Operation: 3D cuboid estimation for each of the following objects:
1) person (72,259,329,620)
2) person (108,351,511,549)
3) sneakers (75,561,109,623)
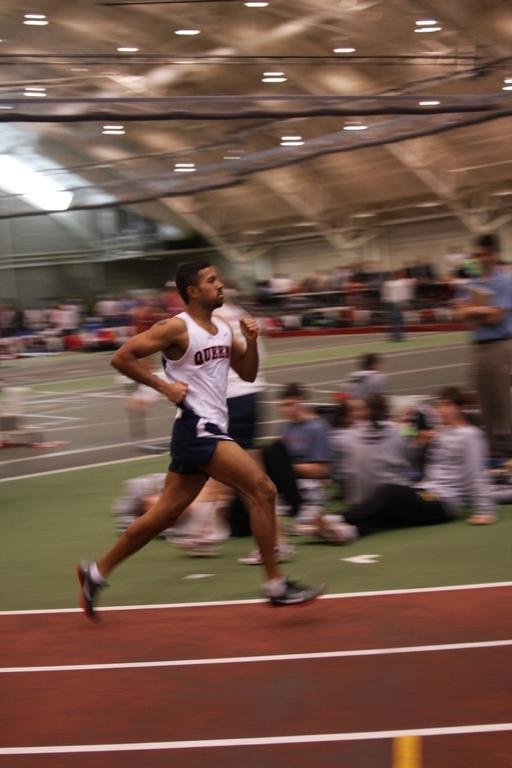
[{"bbox_3d":[-0.300,0.240,3.415,1.006,1.566,0.347,-5,-1,-11],"label":"person"},{"bbox_3d":[0.545,0.437,5.245,2.009,0.716,1.251,-2,-2,-5],"label":"person"},{"bbox_3d":[-0.756,0.948,3.529,0.157,0.291,0.115,0,8,21],"label":"sneakers"}]
